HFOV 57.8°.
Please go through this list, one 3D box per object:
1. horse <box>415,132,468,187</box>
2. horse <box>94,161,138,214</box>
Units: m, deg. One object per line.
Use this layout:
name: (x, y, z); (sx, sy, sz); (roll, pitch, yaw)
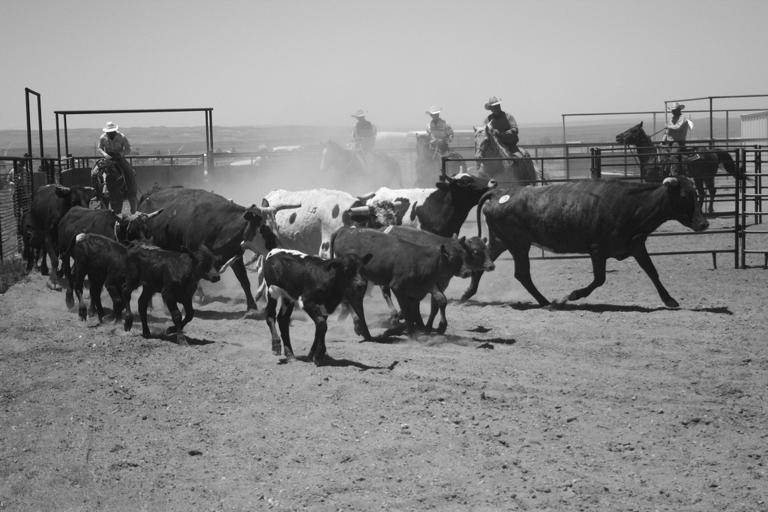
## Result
horse: (1.490, -2.798, 20.955); (2.523, 1.673, 1.310); (-1, 19, 1)
horse: (-6.919, -1.635, 17.992); (0.640, 1.590, 2.610); (7, 9, -6)
